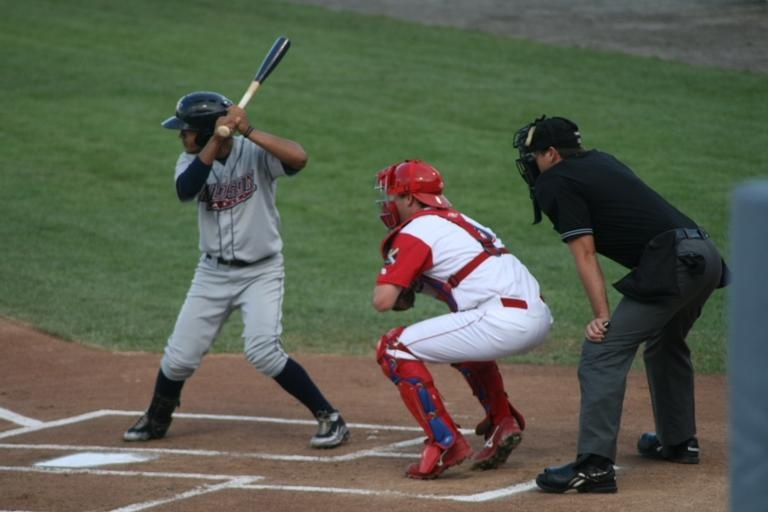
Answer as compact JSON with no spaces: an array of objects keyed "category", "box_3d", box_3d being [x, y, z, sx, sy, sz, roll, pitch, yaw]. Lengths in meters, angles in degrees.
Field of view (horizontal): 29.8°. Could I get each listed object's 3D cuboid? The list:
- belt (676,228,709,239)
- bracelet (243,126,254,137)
[{"category":"belt","box_3d":[3.730,-0.259,17.464,0.258,0.083,0.179,3,-25,13]},{"category":"bracelet","box_3d":[-1.678,-1.559,18.110,0.049,0.135,0.135,47,-25,1]}]
